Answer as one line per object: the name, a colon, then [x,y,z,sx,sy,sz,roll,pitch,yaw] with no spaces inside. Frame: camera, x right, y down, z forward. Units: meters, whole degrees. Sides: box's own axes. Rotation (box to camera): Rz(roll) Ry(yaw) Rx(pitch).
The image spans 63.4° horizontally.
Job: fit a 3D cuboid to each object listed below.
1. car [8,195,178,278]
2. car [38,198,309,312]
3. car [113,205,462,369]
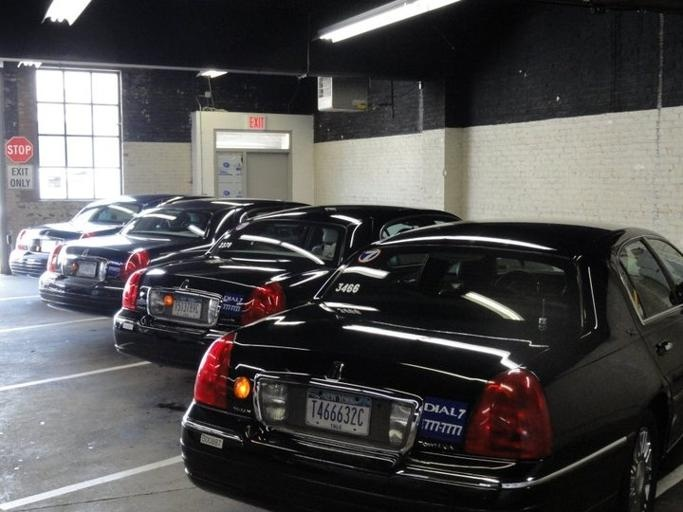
car: [-4.563,-0.452,9.505,3.244,1.074,1.367,-2,4,-37]
car: [-2.263,-0.101,6.398,3.083,1.008,1.349,4,6,33]
car: [-0.210,0.209,5.237,3.157,0.941,1.312,-2,3,-42]
